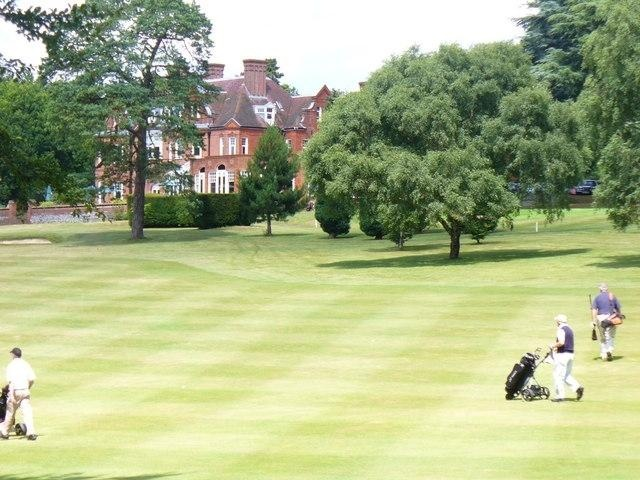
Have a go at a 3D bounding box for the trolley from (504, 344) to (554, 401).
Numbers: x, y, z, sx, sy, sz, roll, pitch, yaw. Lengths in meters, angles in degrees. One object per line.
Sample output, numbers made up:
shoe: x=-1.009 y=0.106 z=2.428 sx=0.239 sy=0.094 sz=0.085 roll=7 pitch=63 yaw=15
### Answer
trolley: x=7.278 y=4.679 z=42.126 sx=1.742 sy=1.596 sz=1.194 roll=3 pitch=0 yaw=7

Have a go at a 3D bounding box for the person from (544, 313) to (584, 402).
person: x=8.516 y=4.105 z=41.848 sx=1.025 sy=2.997 sz=0.854 roll=0 pitch=14 yaw=9

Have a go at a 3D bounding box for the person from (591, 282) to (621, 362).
person: x=10.858 y=3.032 z=45.516 sx=1.282 sy=2.638 sz=1.005 roll=5 pitch=4 yaw=30

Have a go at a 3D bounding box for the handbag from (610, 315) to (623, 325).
handbag: x=11.046 y=2.988 z=45.105 sx=0.347 sy=0.343 sz=0.496 roll=3 pitch=13 yaw=20
